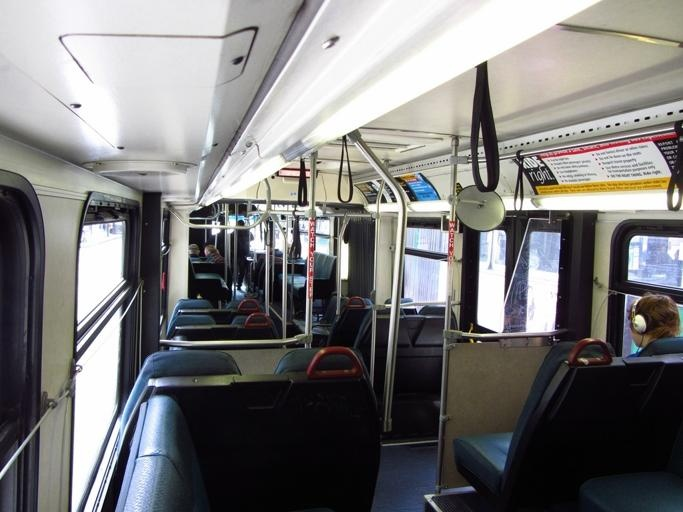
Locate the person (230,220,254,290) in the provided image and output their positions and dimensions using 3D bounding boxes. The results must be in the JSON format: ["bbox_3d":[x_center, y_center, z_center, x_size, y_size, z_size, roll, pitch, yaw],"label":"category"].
[{"bbox_3d":[-2.466,-0.040,12.419,0.522,1.659,0.452,7,6,24],"label":"person"}]
